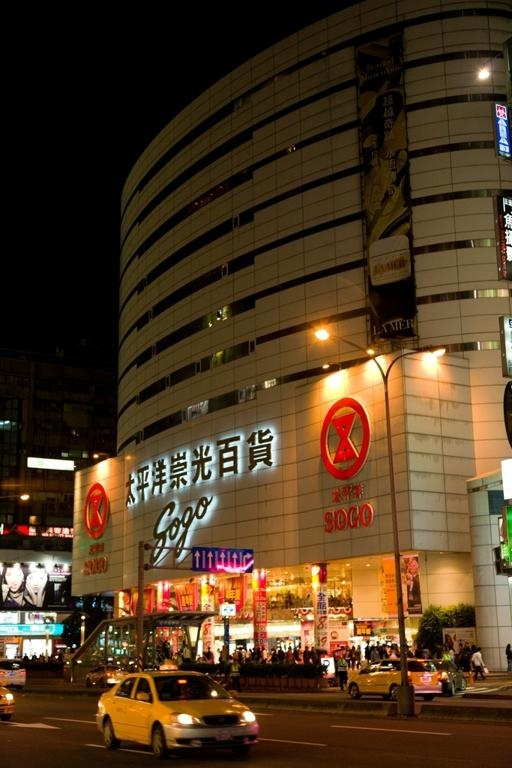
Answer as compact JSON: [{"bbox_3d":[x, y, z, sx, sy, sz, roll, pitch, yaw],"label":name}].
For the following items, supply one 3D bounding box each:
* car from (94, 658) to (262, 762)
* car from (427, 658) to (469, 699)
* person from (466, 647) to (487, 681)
[{"bbox_3d":[-1.300,4.830,12.833,1.203,0.970,2.640,11,-22,-32],"label":"car"},{"bbox_3d":[6.517,9.985,28.740,0.921,0.739,2.177,-3,-8,17],"label":"car"},{"bbox_3d":[9.474,12.111,36.725,0.540,1.185,1.560,-6,-17,12],"label":"person"}]
